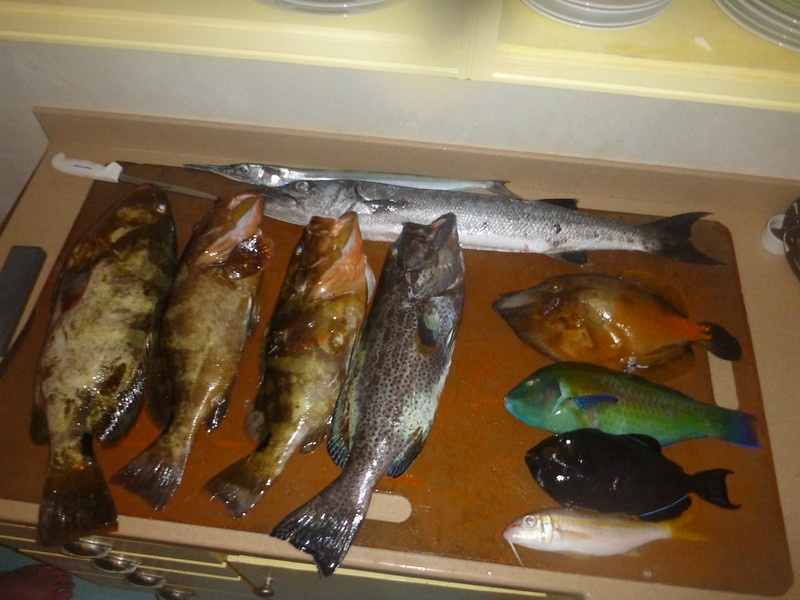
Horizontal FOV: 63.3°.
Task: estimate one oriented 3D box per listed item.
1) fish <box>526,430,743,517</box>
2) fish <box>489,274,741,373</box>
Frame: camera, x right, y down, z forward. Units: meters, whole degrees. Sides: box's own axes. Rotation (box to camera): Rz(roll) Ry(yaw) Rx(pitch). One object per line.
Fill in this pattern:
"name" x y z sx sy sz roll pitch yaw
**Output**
"fish" 0.634 0.471 1.741 0.584 0.078 0.212 6 62 -3
"fish" 0.636 0.070 1.882 0.726 0.082 0.265 10 62 -1
